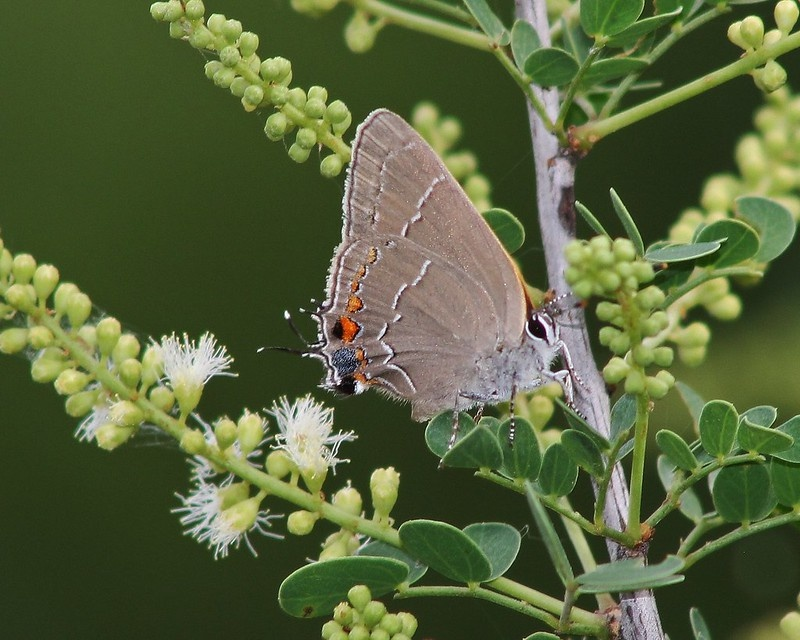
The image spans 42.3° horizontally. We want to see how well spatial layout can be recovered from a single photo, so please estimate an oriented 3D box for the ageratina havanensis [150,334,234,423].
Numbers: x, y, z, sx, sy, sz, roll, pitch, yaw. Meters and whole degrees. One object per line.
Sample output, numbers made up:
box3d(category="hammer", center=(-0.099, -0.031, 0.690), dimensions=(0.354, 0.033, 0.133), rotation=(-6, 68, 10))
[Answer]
box3d(category="ageratina havanensis", center=(-0.679, 0.174, 3.313), dimensions=(0.223, 0.249, 0.244), rotation=(-2, 2, 34))
